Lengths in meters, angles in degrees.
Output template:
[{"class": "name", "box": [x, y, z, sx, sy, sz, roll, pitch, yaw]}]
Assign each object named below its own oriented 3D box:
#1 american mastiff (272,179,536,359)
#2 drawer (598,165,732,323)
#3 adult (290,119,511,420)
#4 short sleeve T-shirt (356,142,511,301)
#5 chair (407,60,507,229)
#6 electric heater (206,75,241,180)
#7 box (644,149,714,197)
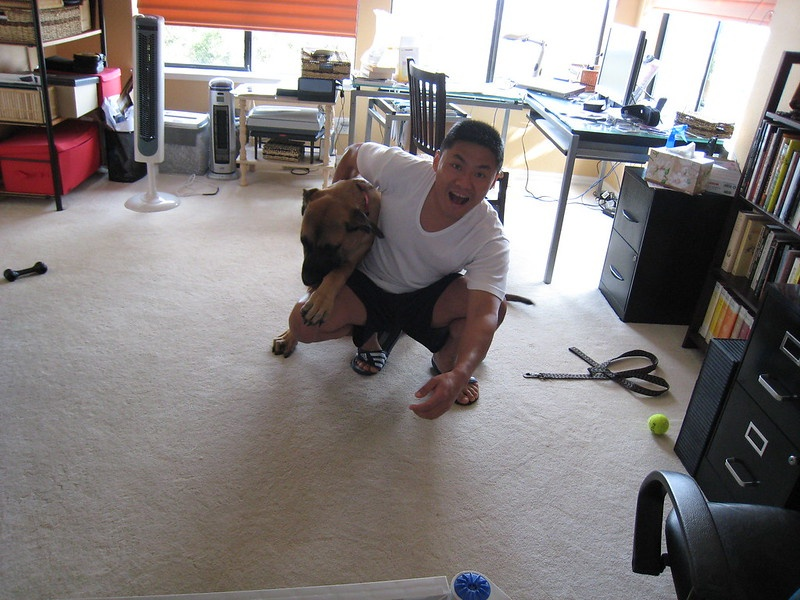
[{"class": "american mastiff", "box": [-0.131, -0.248, 2.340, 0.310, 0.422, 0.980, 24, 22, 6]}, {"class": "drawer", "box": [1.380, -0.281, 3.065, 0.596, 0.725, 0.594, -23, 37, -37]}, {"class": "adult", "box": [0.106, -0.199, 2.277, 0.977, 0.875, 1.005, 4, 46, -2]}, {"class": "short sleeve T-shirt", "box": [0.125, -0.253, 2.155, 0.623, 0.339, 0.555, 5, 2, -6]}, {"class": "chair", "box": [0.396, -0.868, 3.517, 0.639, 0.991, 0.619, 10, 26, 5]}, {"class": "electric heater", "box": [-1.302, -1.231, 4.271, 0.255, 0.642, 0.244, -2, 23, -19]}, {"class": "box", "box": [1.279, -0.629, 2.844, 0.273, 0.189, 0.144, 15, 2, -7]}]
